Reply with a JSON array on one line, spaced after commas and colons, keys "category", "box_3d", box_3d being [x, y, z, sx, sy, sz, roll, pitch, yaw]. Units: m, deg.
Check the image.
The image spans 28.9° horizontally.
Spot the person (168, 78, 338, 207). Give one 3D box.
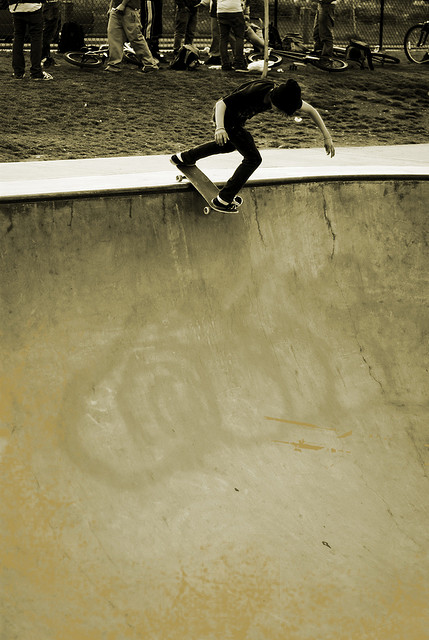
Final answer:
[{"category": "person", "box_3d": [0.229, -1.109, 5.137, 0.936, 0.788, 0.566, 5, 26, -5]}]

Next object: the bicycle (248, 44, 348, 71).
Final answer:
[{"category": "bicycle", "box_3d": [1.160, -3.533, 11.324, 1.212, 0.205, 1.262, 14, 25, 14]}]

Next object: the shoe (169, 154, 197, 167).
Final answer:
[{"category": "shoe", "box_3d": [-0.205, -1.030, 5.433, 0.157, 0.053, 0.065, 11, 10, -5]}]

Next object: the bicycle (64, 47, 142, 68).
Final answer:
[{"category": "bicycle", "box_3d": [-1.367, -3.216, 10.263, 0.855, 0.395, 0.511, 5, 14, 12]}]

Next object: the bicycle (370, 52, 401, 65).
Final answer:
[{"category": "bicycle", "box_3d": [2.577, -3.901, 12.476, 0.412, 0.171, 0.822, 13, 25, 11]}]

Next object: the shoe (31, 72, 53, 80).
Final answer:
[{"category": "shoe", "box_3d": [-1.924, -2.708, 9.266, 0.217, 0.081, 0.073, -4, 69, -10]}]

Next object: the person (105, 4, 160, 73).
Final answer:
[{"category": "person", "box_3d": [-0.981, -3.149, 9.448, 0.567, 0.849, 1.024, 8, 25, 0]}]

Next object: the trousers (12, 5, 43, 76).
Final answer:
[{"category": "trousers", "box_3d": [-1.973, -2.921, 8.788, 0.319, 0.749, 0.531, 2, 26, -13]}]

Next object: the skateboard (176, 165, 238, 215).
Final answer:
[{"category": "skateboard", "box_3d": [-0.093, -0.861, 5.248, 0.177, 0.103, 0.687, -12, 47, -31]}]

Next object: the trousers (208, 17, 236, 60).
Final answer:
[{"category": "trousers", "box_3d": [0.155, -3.734, 11.117, 0.272, 0.164, 0.662, 7, 69, 5]}]

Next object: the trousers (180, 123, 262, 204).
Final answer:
[{"category": "trousers", "box_3d": [0.049, -0.989, 5.209, 0.382, 0.211, 0.567, 29, 34, -39]}]

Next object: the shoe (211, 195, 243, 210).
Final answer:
[{"category": "shoe", "box_3d": [0.082, -0.715, 5.103, 0.230, 0.071, 0.088, -3, 5, -28]}]
